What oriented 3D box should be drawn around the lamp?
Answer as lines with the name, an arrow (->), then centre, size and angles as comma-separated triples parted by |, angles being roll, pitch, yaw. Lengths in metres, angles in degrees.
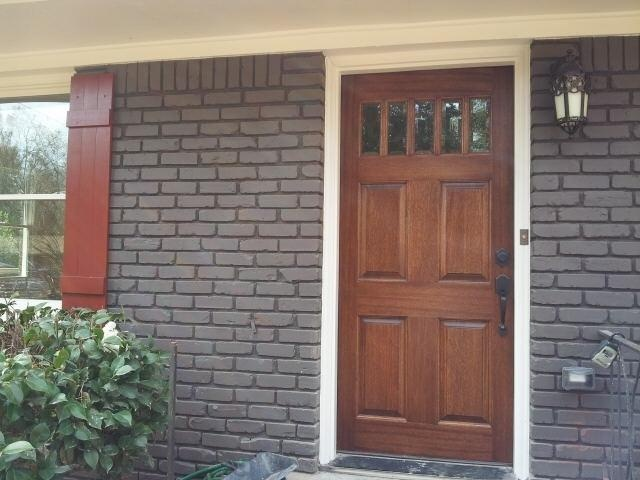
lamp -> 1.465, -0.868, 4.334 | 0.260, 0.475, 0.215 | -10, 11, 13
